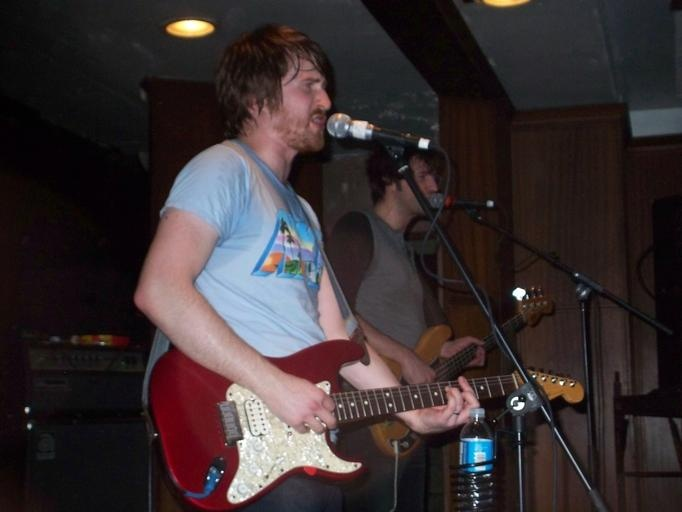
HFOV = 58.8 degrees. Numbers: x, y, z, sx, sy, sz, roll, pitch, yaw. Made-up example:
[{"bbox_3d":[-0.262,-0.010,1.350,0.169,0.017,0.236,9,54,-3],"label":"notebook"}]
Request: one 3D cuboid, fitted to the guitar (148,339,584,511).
[{"bbox_3d":[-0.025,0.649,2.513,1.451,0.606,0.441,3,-7,-35],"label":"guitar"}]
